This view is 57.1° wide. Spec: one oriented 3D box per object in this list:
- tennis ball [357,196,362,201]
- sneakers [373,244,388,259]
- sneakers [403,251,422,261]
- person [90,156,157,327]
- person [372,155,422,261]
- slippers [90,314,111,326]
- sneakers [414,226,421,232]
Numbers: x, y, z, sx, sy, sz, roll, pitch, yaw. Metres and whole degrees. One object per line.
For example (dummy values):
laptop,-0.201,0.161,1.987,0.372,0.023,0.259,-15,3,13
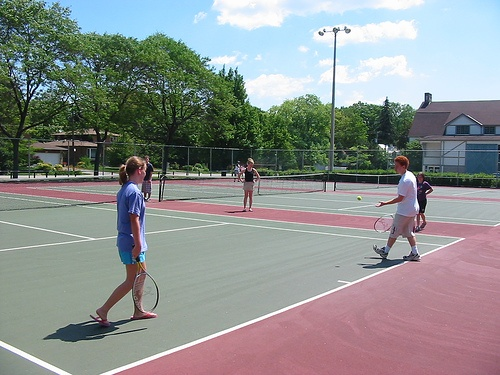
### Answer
tennis ball,4.975,0.513,20.925,0.253,0.157,0.249,0,-2,0
sneakers,2.833,1.394,10.126,0.153,0.193,0.415,30,12,-37
sneakers,3.480,1.492,9.891,0.376,0.170,0.138,0,-2,27
person,-1.685,0.732,6.360,0.753,2.324,0.749,4,2,4
person,3.342,0.423,10.128,0.901,1.936,1.421,4,2,19
slippers,-2.040,1.810,6.253,0.311,0.081,0.134,27,0,20
sneakers,5.087,1.218,13.918,0.171,0.206,0.532,2,4,27
